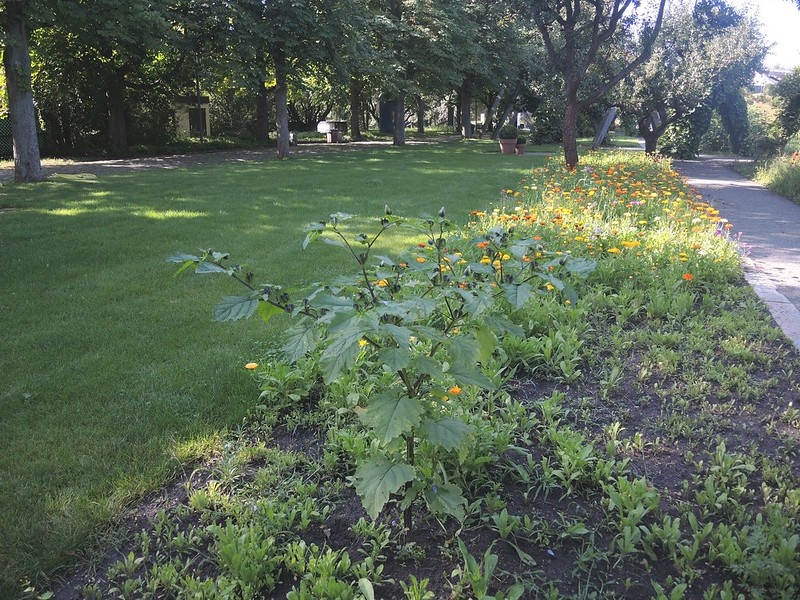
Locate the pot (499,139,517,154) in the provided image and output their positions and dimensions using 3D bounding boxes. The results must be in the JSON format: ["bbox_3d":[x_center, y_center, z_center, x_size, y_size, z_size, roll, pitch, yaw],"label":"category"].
[{"bbox_3d":[4.548,-6.481,24.805,0.617,0.544,0.672,0,4,0],"label":"pot"}]

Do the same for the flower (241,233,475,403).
[{"bbox_3d":[-0.022,0.053,3.857,1.340,1.219,1.543,4,10,13],"label":"flower"}]
